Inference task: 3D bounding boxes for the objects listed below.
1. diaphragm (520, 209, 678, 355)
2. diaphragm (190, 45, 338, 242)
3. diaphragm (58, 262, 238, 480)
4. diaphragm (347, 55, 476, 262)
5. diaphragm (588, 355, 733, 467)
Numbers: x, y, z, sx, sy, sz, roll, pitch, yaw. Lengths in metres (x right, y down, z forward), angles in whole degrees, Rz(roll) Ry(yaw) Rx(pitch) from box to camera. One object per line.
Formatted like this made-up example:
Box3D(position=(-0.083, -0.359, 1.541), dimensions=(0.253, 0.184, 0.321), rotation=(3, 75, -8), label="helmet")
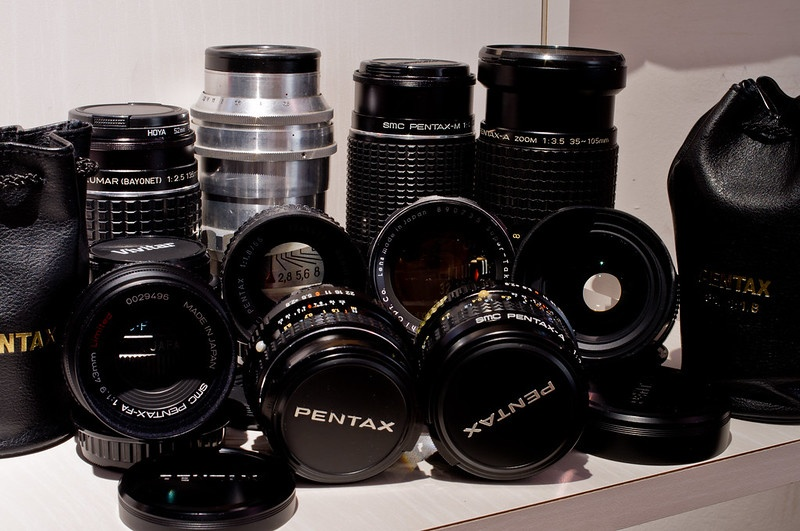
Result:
Box3D(position=(0.311, 0.016, 1.266), dimensions=(0.256, 0.210, 0.088), rotation=(-19, 3, 16), label="diaphragm")
Box3D(position=(-0.218, -0.210, 1.446), dimensions=(0.299, 0.316, 0.271), rotation=(-6, 19, -19), label="diaphragm")
Box3D(position=(-0.323, 0.138, 1.083), dimensions=(0.231, 0.241, 0.163), rotation=(-3, 4, -16), label="diaphragm")
Box3D(position=(0.023, -0.186, 1.399), dimensions=(0.217, 0.292, 0.198), rotation=(-5, 17, -27), label="diaphragm")
Box3D(position=(0.353, 0.201, 1.141), dimensions=(0.201, 0.042, 0.198), rotation=(12, 20, 34), label="diaphragm")
